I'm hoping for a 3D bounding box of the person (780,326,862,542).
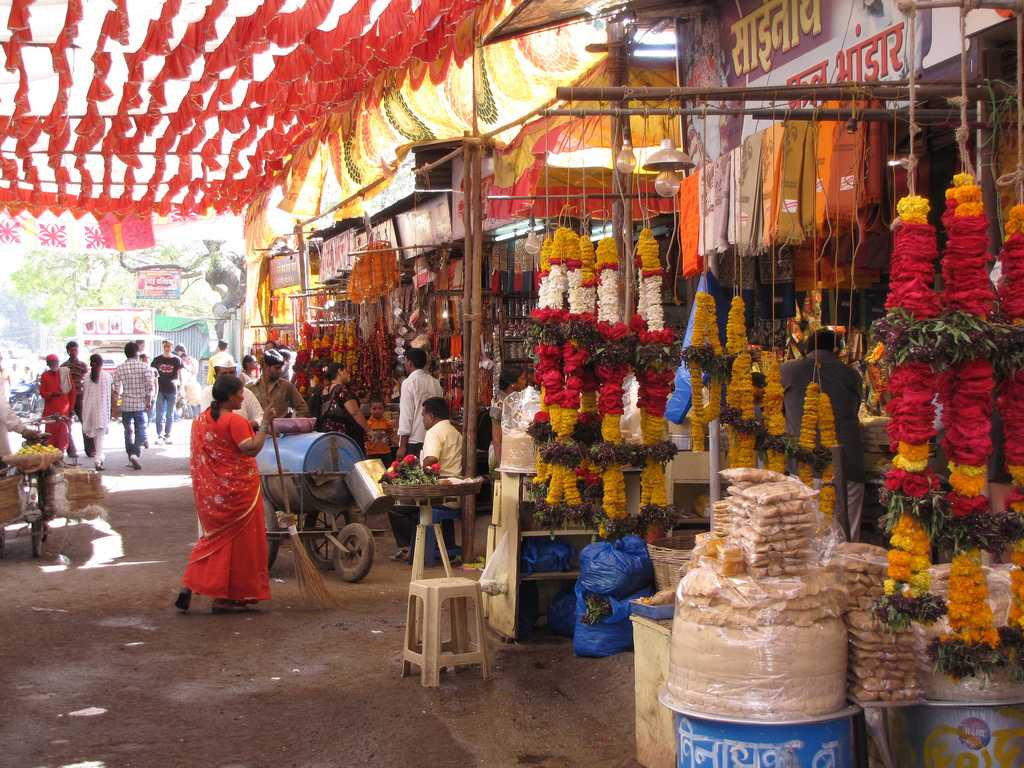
[{"bbox_3d":[2.172,0.347,6.858,0.567,1.486,1.298,0,2,20],"label":"person"}]

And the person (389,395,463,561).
[{"bbox_3d":[-0.711,0.933,9.001,0.553,1.626,2.147,-1,2,-7],"label":"person"}]

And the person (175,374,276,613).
[{"bbox_3d":[-2.272,0.863,7.771,0.696,1.860,0.388,-1,2,-14],"label":"person"}]

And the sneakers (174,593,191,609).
[{"bbox_3d":[-2.643,1.734,7.860,0.059,0.134,0.087,14,22,1],"label":"sneakers"}]

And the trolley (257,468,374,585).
[{"bbox_3d":[-1.826,1.212,9.364,0.914,1.185,1.515,2,-1,-42],"label":"trolley"}]

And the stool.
[{"bbox_3d":[-0.358,1.541,6.383,0.562,0.768,0.587,0,-2,-29],"label":"stool"}]

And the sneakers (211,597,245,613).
[{"bbox_3d":[-2.275,1.762,7.858,0.224,0.176,0.111,-2,-6,1],"label":"sneakers"}]

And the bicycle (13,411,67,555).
[{"bbox_3d":[-4.906,1.046,10.080,0.491,1.382,1.129,-2,3,-26],"label":"bicycle"}]

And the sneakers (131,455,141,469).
[{"bbox_3d":[-6.543,1.343,17.012,0.089,0.234,0.102,-4,28,-4],"label":"sneakers"}]

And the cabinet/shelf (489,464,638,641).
[{"bbox_3d":[0.348,1.215,7.220,0.832,1.374,1.082,0,-1,-11],"label":"cabinet/shelf"}]

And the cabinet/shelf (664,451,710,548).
[{"bbox_3d":[1.278,0.756,7.102,0.309,0.574,0.356,0,2,4],"label":"cabinet/shelf"}]
